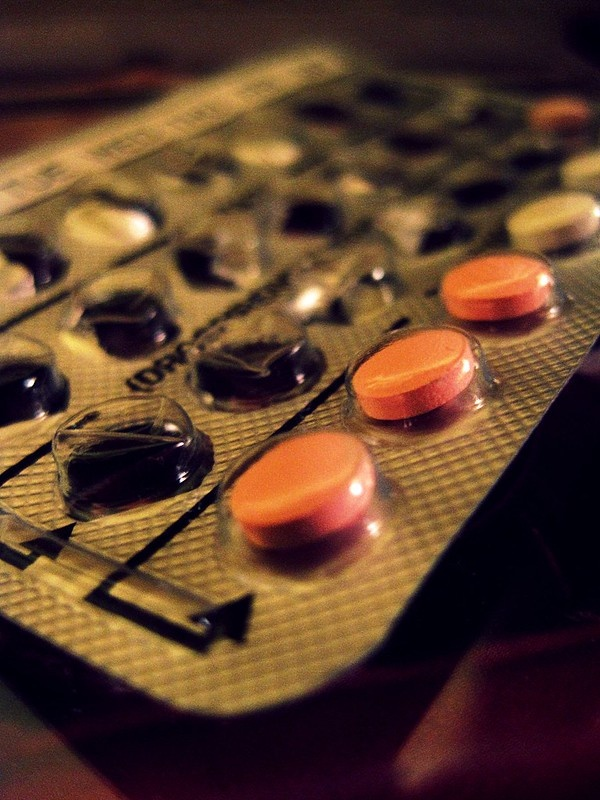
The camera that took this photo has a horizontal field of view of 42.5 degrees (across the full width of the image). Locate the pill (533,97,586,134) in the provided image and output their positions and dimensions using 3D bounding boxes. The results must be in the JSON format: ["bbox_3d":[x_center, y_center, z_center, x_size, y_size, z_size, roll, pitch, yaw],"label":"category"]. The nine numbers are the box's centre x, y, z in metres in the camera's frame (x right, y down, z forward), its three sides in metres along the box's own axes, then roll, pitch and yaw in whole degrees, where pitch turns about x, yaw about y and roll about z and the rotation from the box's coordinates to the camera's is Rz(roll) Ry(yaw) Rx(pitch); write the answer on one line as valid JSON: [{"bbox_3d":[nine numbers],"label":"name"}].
[{"bbox_3d":[0.353,-0.389,1.048,0.056,0.015,0.055,-4,61,7],"label":"pill"}]
